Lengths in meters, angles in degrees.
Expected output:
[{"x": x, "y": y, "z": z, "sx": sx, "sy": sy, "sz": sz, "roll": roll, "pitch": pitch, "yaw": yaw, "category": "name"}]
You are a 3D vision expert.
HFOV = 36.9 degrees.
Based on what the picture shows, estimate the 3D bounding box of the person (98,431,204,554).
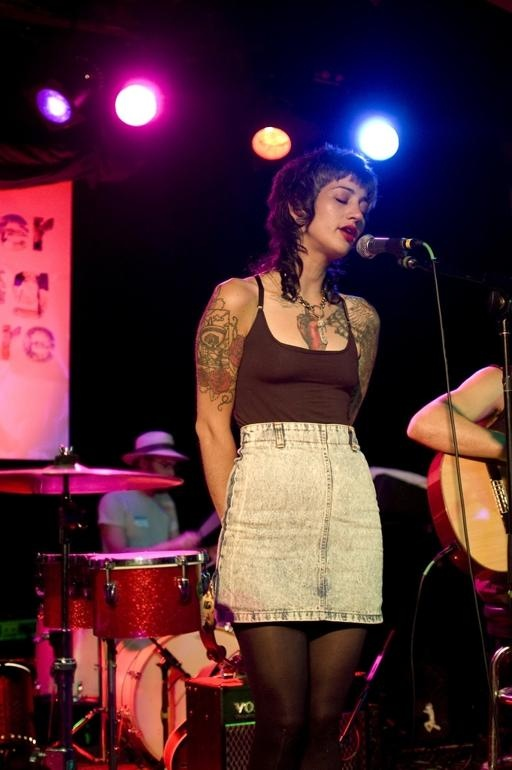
[{"x": -0.742, "y": 0.847, "z": 5.214, "sx": 0.616, "sy": 0.974, "sz": 0.567, "roll": 6, "pitch": -16, "yaw": -30, "category": "person"}]

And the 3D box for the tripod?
[{"x": -0.909, "y": 1.749, "z": 4.340, "sx": 0.809, "sy": 0.694, "sz": 0.700, "roll": 3, "pitch": -13, "yaw": -10, "category": "tripod"}]

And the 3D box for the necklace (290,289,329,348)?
[{"x": 0.137, "y": -0.161, "z": 1.903, "sx": 0.089, "sy": 0.140, "sz": 0.048, "roll": 13, "pitch": -47, "yaw": -12, "category": "necklace"}]

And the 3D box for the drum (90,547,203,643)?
[{"x": -0.453, "y": 0.880, "z": 3.231, "sx": 0.429, "sy": 0.288, "sz": 0.406, "roll": -1, "pitch": -6, "yaw": 0, "category": "drum"}]

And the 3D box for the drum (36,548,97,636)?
[{"x": -0.864, "y": 0.940, "z": 3.500, "sx": 0.414, "sy": 0.358, "sz": 0.392, "roll": 2, "pitch": -10, "yaw": -14, "category": "drum"}]

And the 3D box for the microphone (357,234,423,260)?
[{"x": 0.392, "y": -0.421, "z": 2.413, "sx": 0.233, "sy": 0.075, "sz": 0.078, "roll": 5, "pitch": 25, "yaw": 41, "category": "microphone"}]
